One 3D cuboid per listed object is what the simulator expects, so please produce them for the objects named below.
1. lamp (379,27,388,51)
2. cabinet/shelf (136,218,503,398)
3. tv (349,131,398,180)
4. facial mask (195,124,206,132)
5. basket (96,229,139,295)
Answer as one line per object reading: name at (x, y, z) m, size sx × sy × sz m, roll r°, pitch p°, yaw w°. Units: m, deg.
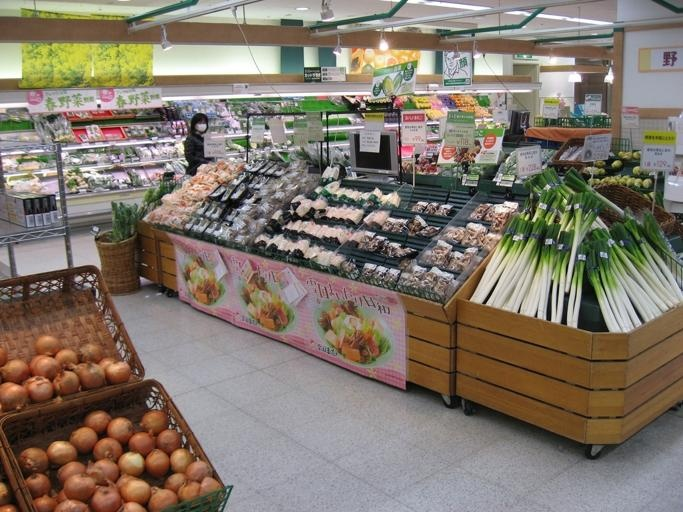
lamp at (0.899, -4.529, 9.476) m, size 0.198 × 0.406 × 0.467 m, roll -1°, pitch 17°, yaw 7°
cabinet/shelf at (-0.143, 0.485, 4.016) m, size 3.432 × 0.967 × 0.872 m, roll 9°, pitch 17°, yaw 37°
tv at (0.374, -1.110, 4.970) m, size 0.269 × 0.484 × 0.698 m, roll -16°, pitch 21°, yaw -34°
facial mask at (-2.163, -1.931, 6.838) m, size 0.122 × 0.086 × 0.112 m, roll -10°, pitch 17°, yaw -37°
basket at (-2.839, 0.081, 5.663) m, size 0.461 × 0.776 × 0.467 m, roll 18°, pitch 22°, yaw 41°
